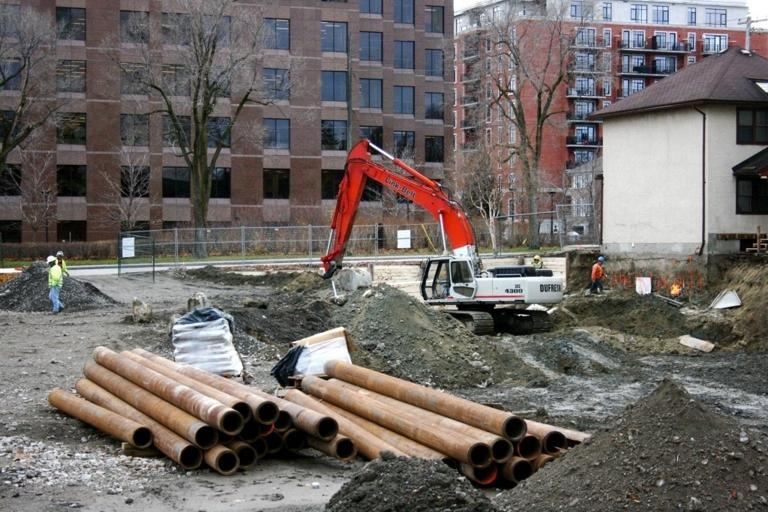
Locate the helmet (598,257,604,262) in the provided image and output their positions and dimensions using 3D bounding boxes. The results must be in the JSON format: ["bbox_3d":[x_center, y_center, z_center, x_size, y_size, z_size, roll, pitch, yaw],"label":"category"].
[{"bbox_3d":[9.436,0.159,36.160,0.211,0.170,0.313,13,25,34],"label":"helmet"}]

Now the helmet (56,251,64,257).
[{"bbox_3d":[-14.709,-0.110,37.572,0.306,0.456,0.192,0,-1,-4],"label":"helmet"}]

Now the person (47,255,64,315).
[{"bbox_3d":[-11.763,0.976,29.738,0.552,1.952,1.530,-4,10,-22],"label":"person"}]

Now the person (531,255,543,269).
[{"bbox_3d":[6.893,0.270,37.407,0.445,0.501,1.067,0,-8,13],"label":"person"}]

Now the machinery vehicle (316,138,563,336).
[{"bbox_3d":[1.428,-0.202,31.905,10.760,8.840,4.497,0,1,16],"label":"machinery vehicle"}]
